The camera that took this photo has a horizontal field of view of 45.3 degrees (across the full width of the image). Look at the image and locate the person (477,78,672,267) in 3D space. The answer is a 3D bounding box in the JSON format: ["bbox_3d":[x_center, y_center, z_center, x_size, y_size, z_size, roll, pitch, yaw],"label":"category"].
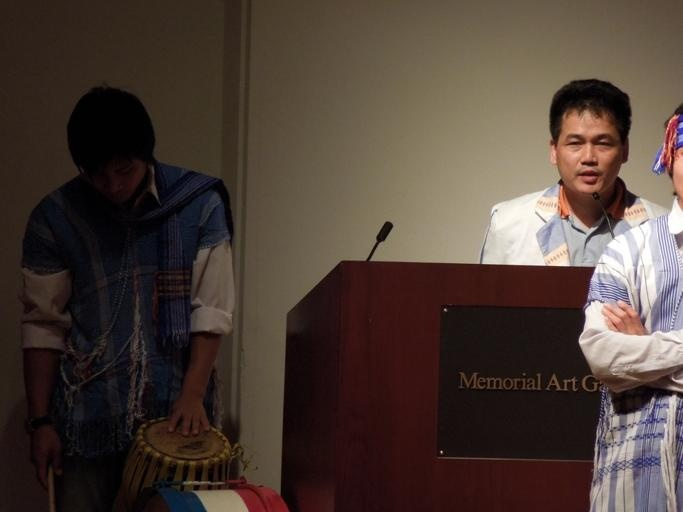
[{"bbox_3d":[0.858,-0.241,2.915,0.639,0.775,0.361,5,11,17],"label":"person"}]

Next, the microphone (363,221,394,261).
[{"bbox_3d":[0.145,-0.068,3.342,0.043,0.237,0.029,20,-38,17],"label":"microphone"}]

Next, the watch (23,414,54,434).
[{"bbox_3d":[-0.921,0.504,2.472,0.059,0.054,0.062,-4,-8,-14],"label":"watch"}]
